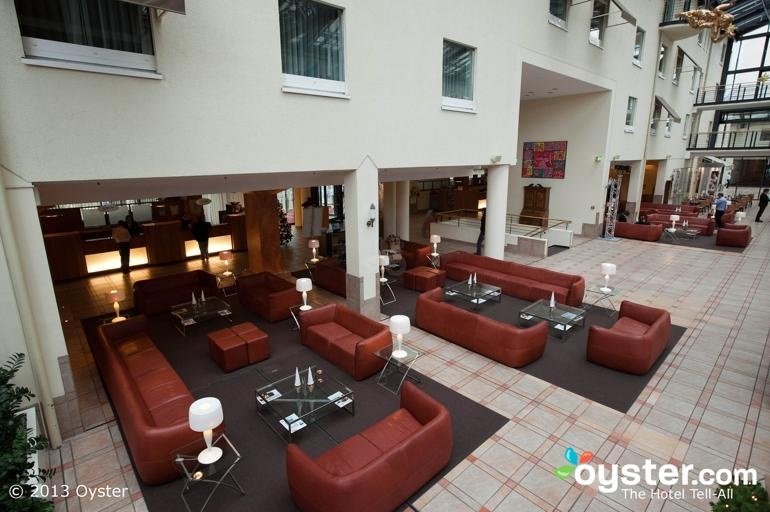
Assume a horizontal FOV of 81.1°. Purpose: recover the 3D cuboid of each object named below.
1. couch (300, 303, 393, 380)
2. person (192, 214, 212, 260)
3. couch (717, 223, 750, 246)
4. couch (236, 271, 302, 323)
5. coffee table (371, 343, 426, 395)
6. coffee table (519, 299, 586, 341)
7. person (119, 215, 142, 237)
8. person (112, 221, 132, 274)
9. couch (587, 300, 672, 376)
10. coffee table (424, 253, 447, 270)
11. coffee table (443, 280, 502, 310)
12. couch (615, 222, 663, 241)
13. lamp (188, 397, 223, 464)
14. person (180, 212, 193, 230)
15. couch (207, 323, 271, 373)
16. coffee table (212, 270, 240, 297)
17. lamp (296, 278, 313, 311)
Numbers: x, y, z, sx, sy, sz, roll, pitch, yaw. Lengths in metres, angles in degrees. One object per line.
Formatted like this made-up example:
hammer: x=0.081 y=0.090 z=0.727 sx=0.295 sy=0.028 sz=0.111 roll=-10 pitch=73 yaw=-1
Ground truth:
couch: x=-1.032 y=2.138 z=11.808 sx=1.237 sy=1.127 sz=2.439 roll=-9 pitch=20 yaw=-44
person: x=-7.480 y=-0.804 z=18.485 sx=0.683 sy=1.680 sz=1.261 roll=-9 pitch=-3 yaw=-22
couch: x=16.096 y=-0.984 z=20.813 sx=0.966 sy=0.897 sz=1.404 roll=6 pitch=16 yaw=31
couch: x=-3.668 y=1.235 z=14.225 sx=1.923 sy=0.989 sz=1.106 roll=20 pitch=23 yaw=39
coffee table: x=0.260 y=2.662 z=11.003 sx=1.041 sy=1.028 sz=1.054 roll=24 pitch=34 yaw=36
coffee table: x=4.737 y=1.635 z=12.834 sx=1.189 sy=0.532 sz=1.272 roll=-21 pitch=26 yaw=-38
person: x=-9.979 y=-1.197 z=17.620 sx=0.353 sy=1.185 sz=0.486 roll=18 pitch=35 yaw=32
person: x=-9.923 y=-0.369 z=17.063 sx=0.528 sy=1.563 sz=1.111 roll=-9 pitch=-3 yaw=-31
couch: x=6.441 y=2.052 z=11.792 sx=2.040 sy=1.148 sz=1.507 roll=-21 pitch=23 yaw=-33
coffee table: x=1.885 y=0.184 z=17.226 sx=0.535 sy=0.800 sz=0.548 roll=4 pitch=22 yaw=-3
coffee table: x=2.751 y=1.158 z=14.346 sx=1.066 sy=0.436 sz=1.036 roll=15 pitch=25 yaw=41
couch: x=12.612 y=-1.285 z=22.440 sx=1.926 sy=1.193 sz=0.664 roll=-13 pitch=-3 yaw=28
lamp: x=-3.333 y=3.278 z=8.480 sx=0.541 sy=1.047 sz=0.752 roll=-9 pitch=-3 yaw=-26
person: x=-8.431 y=-1.532 z=19.151 sx=0.443 sy=0.642 sz=1.154 roll=-9 pitch=-4 yaw=-22
couch: x=-3.853 y=2.467 z=11.751 sx=1.129 sy=0.729 sz=1.124 roll=-14 pitch=26 yaw=-36
coffee table: x=-5.569 y=0.963 z=15.764 sx=0.591 sy=0.592 sz=0.598 roll=24 pitch=32 yaw=39
lamp: x=-2.402 y=1.115 z=13.282 sx=0.514 sy=1.037 sz=0.547 roll=-9 pitch=23 yaw=-23
